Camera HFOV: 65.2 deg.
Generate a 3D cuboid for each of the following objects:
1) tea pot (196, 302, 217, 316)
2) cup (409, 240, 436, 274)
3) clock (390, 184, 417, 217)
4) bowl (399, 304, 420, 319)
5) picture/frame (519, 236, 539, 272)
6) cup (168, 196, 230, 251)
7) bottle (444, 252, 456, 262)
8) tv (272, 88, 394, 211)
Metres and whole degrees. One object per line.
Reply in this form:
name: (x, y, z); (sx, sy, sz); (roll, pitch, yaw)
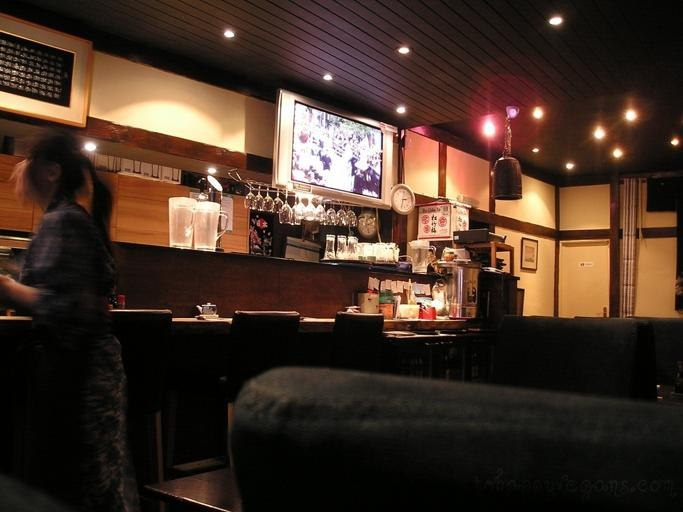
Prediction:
tea pot: (-0.775, 0.312, 3.078); (0.118, 0.089, 0.082); (0, 0, -27)
cup: (0.896, -0.016, 5.754); (0.346, 0.355, 0.229); (-12, 8, -37)
clock: (0.647, -0.637, 5.817); (0.337, 0.327, 0.102); (4, -6, -39)
bowl: (0.541, 0.443, 4.311); (0.115, 0.076, 0.118); (1, -5, 0)
picture/frame: (3.143, -0.030, 9.037); (0.039, 0.533, 0.550); (-4, -8, 36)
cup: (-0.878, -0.188, 3.312); (0.378, 0.342, 0.243); (7, -8, -34)
bottle: (1.091, 0.005, 5.397); (0.095, 0.073, 0.099); (0, 4, 0)
tv: (-0.119, -1.019, 5.024); (1.072, 0.679, 0.142); (11, -15, -44)
